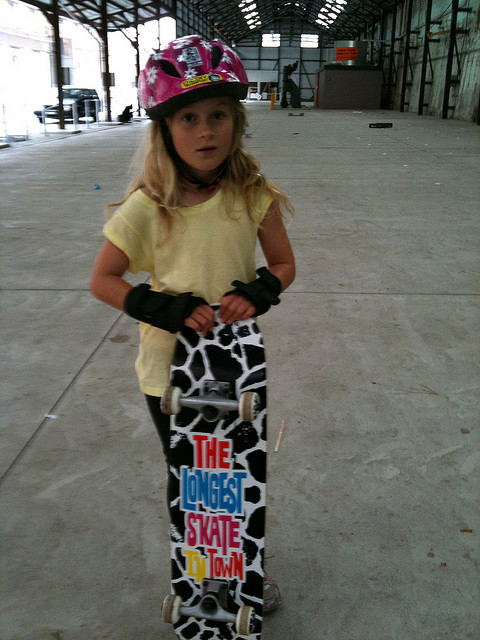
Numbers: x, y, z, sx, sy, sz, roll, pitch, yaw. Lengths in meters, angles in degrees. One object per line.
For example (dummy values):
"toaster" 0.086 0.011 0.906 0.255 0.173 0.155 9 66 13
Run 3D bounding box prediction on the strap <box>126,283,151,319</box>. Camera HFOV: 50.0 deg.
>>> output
"strap" -0.196 -0.041 1.004 0.047 0.063 0.024 3 -2 -34

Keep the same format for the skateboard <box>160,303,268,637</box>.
"skateboard" -0.049 0.288 0.972 0.190 0.689 0.104 -2 3 12

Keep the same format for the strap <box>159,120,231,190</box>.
"strap" -0.073 -0.356 1.054 0.186 0.127 0.044 0 23 5

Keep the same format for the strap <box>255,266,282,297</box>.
"strap" 0.063 -0.086 1.129 0.037 0.066 0.051 -39 -4 -1

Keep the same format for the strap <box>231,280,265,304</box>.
"strap" 0.013 -0.056 1.030 0.050 0.015 0.050 38 11 23
